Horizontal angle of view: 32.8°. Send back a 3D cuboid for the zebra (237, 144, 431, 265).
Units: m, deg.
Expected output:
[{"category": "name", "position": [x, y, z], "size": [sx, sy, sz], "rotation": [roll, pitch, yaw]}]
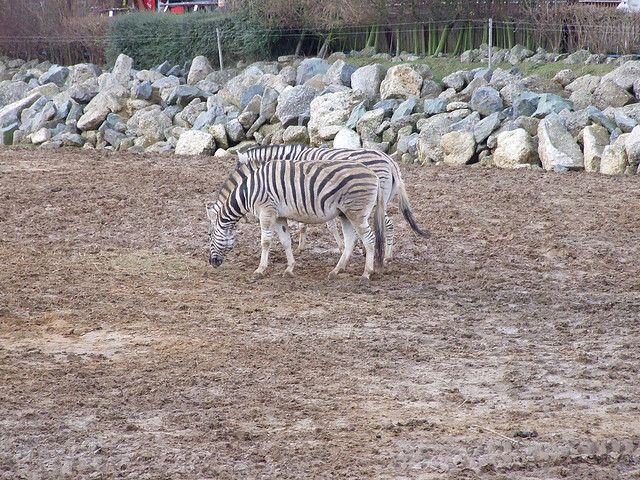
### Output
[{"category": "zebra", "position": [-0.160, -0.384, 15.662], "size": [3.525, 1.925, 0.994], "rotation": [1, -7, 22]}]
